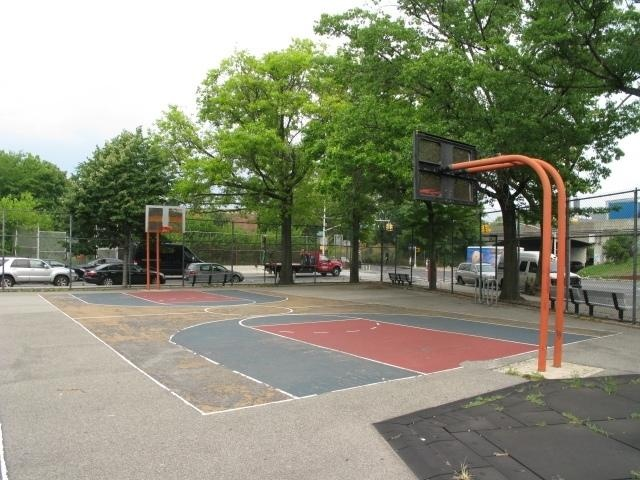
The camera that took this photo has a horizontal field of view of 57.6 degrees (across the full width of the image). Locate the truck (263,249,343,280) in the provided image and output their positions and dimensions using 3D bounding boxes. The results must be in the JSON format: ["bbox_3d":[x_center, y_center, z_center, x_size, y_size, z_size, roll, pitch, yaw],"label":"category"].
[{"bbox_3d":[-0.847,2.229,48.855,7.054,2.099,2.277,-1,1,-30],"label":"truck"}]

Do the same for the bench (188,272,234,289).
[{"bbox_3d":[-6.679,2.387,35.203,2.303,0.763,1.146,-2,1,-29],"label":"bench"}]
